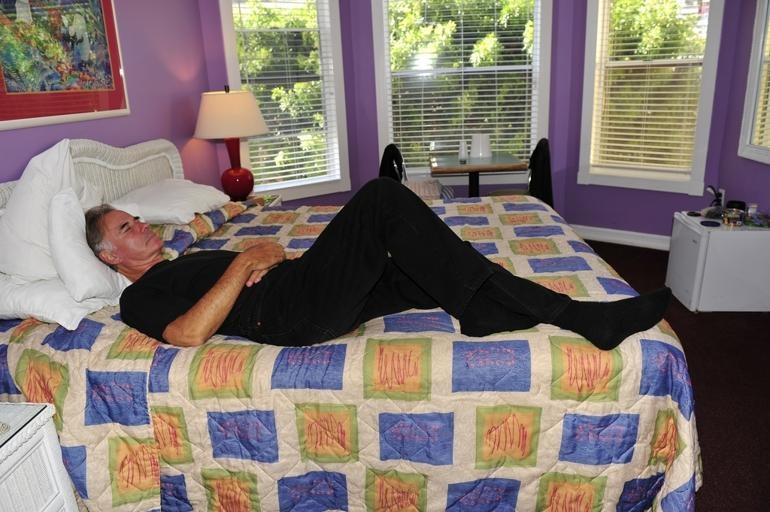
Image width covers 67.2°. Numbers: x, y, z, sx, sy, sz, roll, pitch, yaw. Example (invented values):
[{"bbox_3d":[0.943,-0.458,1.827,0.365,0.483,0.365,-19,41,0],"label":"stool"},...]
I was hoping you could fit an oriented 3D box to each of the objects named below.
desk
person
[{"bbox_3d":[0.835,-0.887,5.596,0.626,0.599,0.619,-2,20,1],"label":"desk"},{"bbox_3d":[-0.100,0.083,2.977,2.401,0.784,1.097,2,16,6],"label":"person"}]
